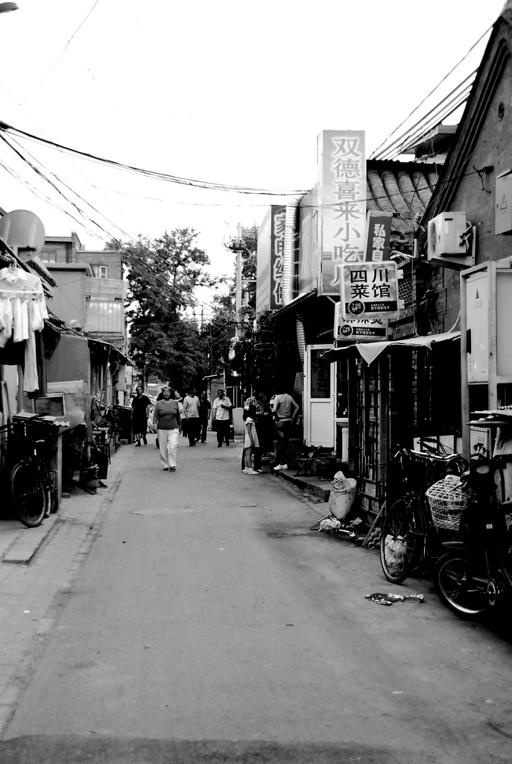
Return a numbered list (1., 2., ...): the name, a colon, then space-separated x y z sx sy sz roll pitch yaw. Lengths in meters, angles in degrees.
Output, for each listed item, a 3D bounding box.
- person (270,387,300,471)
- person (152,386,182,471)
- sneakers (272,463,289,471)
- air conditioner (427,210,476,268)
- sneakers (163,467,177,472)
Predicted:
1. person: 0.617 1.048 16.980 0.545 1.614 0.837 0 -1 2
2. person: -1.921 0.961 16.991 0.540 1.767 0.850 1 -1 -6
3. sneakers: 0.563 1.775 16.966 0.344 0.190 0.126 5 -7 -37
4. air conditioner: 2.568 -1.819 10.258 0.509 0.678 0.633 1 -1 0
5. sneakers: -1.827 1.791 16.762 0.275 0.158 0.104 -1 1 17
